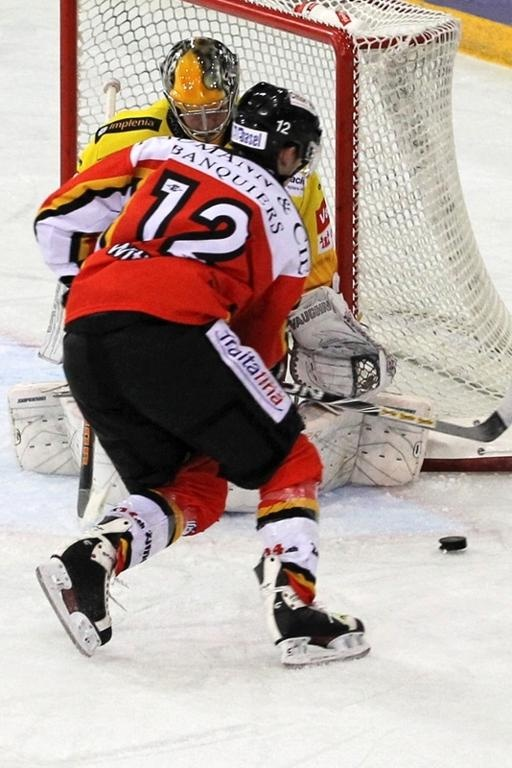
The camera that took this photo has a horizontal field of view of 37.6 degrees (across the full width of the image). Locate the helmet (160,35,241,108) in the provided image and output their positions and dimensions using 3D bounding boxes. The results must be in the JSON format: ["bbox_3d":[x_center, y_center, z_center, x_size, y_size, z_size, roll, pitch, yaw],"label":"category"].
[{"bbox_3d":[-0.087,-0.600,1.520,0.161,0.141,0.161,-9,46,8],"label":"helmet"}]

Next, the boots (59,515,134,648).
[{"bbox_3d":[-0.227,0.287,1.051,0.095,0.164,0.168,4,31,-6],"label":"boots"}]

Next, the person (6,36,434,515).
[{"bbox_3d":[-0.066,-0.019,1.226,0.575,0.849,0.375,4,-6,-20],"label":"person"}]
